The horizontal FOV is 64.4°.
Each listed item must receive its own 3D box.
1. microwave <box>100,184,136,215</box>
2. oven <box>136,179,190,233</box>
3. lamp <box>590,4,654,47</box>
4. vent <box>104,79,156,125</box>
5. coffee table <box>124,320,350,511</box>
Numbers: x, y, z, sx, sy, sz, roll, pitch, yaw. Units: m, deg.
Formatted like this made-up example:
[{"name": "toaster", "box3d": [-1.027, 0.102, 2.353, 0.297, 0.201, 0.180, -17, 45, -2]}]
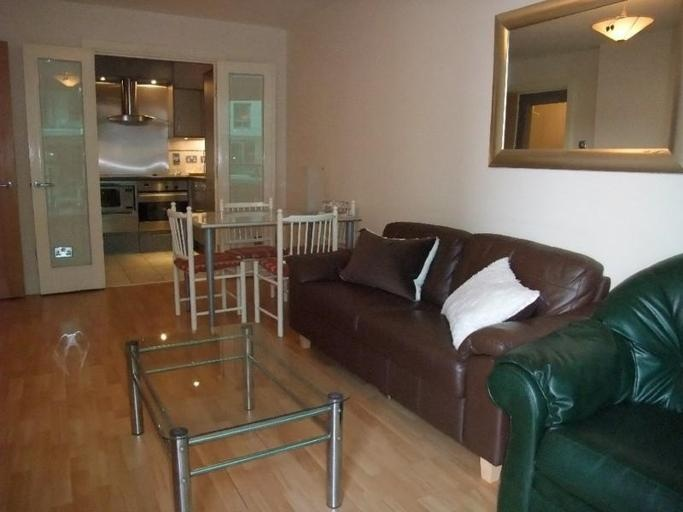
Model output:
[{"name": "microwave", "box3d": [-3.027, -0.775, 7.394, 0.621, 0.423, 0.340, -4, 9, -44]}, {"name": "oven", "box3d": [-2.470, -0.693, 7.839, 0.807, 0.793, 0.590, 0, 3, 10]}, {"name": "lamp", "box3d": [1.605, -1.311, 3.101, 0.193, 0.134, 0.195, 3, 11, 14]}, {"name": "vent", "box3d": [-3.082, -2.240, 7.841, 0.533, 0.531, 0.499, 8, 15, 9]}, {"name": "coffee table", "box3d": [-0.567, 0.834, 2.784, 0.939, 0.627, 1.004, -6, 11, -23]}]
